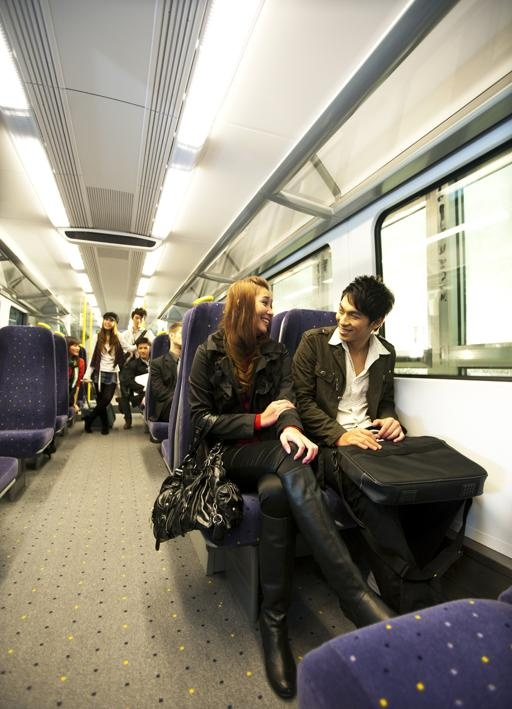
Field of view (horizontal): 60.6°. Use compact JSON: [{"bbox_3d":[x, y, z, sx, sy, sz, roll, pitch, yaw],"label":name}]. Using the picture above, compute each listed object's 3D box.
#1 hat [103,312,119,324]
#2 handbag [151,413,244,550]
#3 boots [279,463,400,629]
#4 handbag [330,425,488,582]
[{"bbox_3d":[-2.086,-0.537,6.294,0.166,0.108,0.234,13,-1,-5],"label":"hat"},{"bbox_3d":[-0.241,0.551,1.715,0.325,0.384,0.436,-2,-3,-14],"label":"handbag"},{"bbox_3d":[0.244,0.578,1.671,0.218,0.803,0.181,-20,-32,-6],"label":"boots"},{"bbox_3d":[0.557,0.604,1.854,0.497,0.537,0.577,5,-4,-14],"label":"handbag"}]
